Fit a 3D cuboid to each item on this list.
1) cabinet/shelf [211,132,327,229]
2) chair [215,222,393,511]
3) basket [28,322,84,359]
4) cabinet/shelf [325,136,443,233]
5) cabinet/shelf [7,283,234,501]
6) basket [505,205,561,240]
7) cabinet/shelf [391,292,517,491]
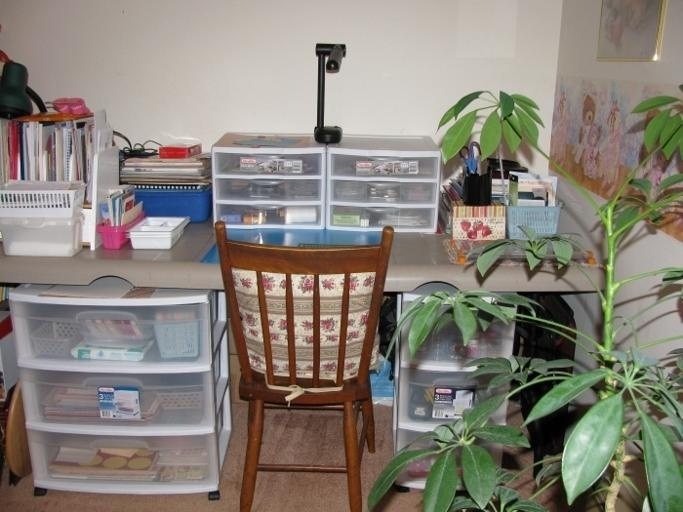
[{"bbox_3d":[-0.268,-0.297,2.311,0.485,0.325,0.286,3,19,13],"label":"cabinet/shelf"},{"bbox_3d":[-0.112,0.375,1.773,0.508,1.061,0.341,-4,17,-6],"label":"chair"},{"bbox_3d":[-0.965,0.281,1.840,0.107,0.059,0.157,1,11,-6],"label":"basket"},{"bbox_3d":[0.176,-0.264,2.190,0.466,0.326,0.362,1,12,6],"label":"cabinet/shelf"},{"bbox_3d":[-0.759,0.451,2.111,0.716,0.791,0.549,3,13,8],"label":"cabinet/shelf"},{"bbox_3d":[0.690,-0.120,2.000,0.193,0.110,0.129,1,1,10],"label":"basket"},{"bbox_3d":[0.382,0.482,1.942,0.402,0.782,0.205,0,17,6],"label":"cabinet/shelf"}]
